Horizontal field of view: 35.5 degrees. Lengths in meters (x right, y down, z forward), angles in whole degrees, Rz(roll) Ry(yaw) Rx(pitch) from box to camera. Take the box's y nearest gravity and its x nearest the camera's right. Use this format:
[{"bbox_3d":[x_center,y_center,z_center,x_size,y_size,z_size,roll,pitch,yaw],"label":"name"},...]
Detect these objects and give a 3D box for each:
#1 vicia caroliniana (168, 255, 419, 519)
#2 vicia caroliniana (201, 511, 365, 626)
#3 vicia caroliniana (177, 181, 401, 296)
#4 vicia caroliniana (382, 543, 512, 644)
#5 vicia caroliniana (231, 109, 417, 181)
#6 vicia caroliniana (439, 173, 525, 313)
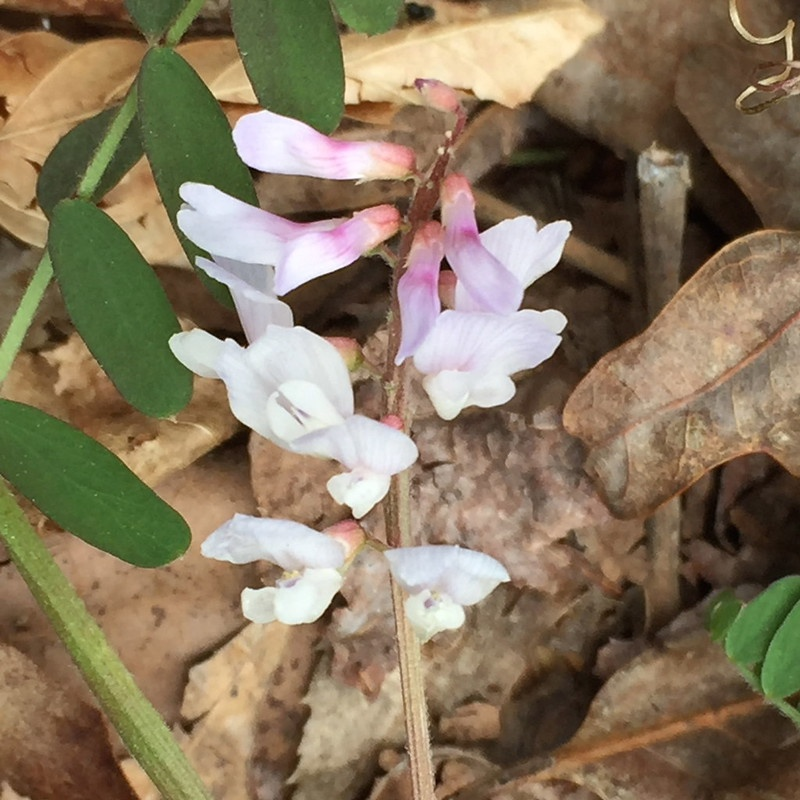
[{"bbox_3d":[-0.255,-0.057,2.612,0.569,0.185,0.183,18,70,-16],"label":"vicia caroliniana"},{"bbox_3d":[-0.305,0.376,2.617,0.080,0.252,0.194,12,36,29],"label":"vicia caroliniana"},{"bbox_3d":[-0.211,-0.319,2.602,0.416,0.094,0.228,-16,55,-2],"label":"vicia caroliniana"},{"bbox_3d":[0.093,0.421,2.733,0.352,0.271,0.099,5,16,2],"label":"vicia caroliniana"},{"bbox_3d":[-0.153,-0.523,2.594,0.434,0.128,0.094,2,5,-28],"label":"vicia caroliniana"},{"bbox_3d":[0.149,-0.303,2.558,0.123,0.093,0.319,-24,82,17],"label":"vicia caroliniana"}]
